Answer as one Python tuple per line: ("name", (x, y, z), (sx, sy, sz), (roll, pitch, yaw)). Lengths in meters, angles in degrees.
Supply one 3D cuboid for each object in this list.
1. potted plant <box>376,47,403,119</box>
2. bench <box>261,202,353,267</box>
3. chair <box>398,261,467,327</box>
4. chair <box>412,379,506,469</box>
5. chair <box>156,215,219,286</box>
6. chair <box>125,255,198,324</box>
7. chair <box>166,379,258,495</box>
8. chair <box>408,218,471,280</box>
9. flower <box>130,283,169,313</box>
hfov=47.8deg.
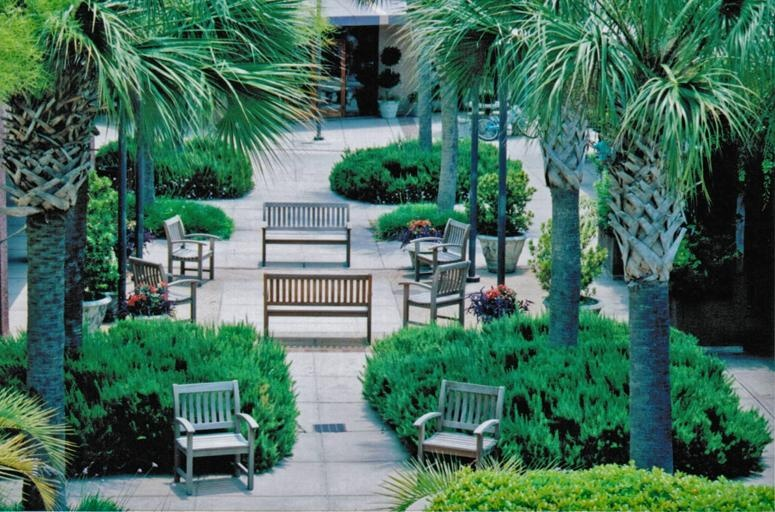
("potted plant", (0.054, -7.094, 35.963), (1.051, 2.916, 0.846), (-3, 9, 4))
("bench", (-1.677, -0.492, 19.389), (1.966, 1.476, 0.860), (0, 7, -5))
("chair", (0.803, 0.641, 14.468), (0.835, 1.264, 0.873), (10, 13, 40))
("chair", (0.825, 2.097, 10.199), (0.805, 1.230, 0.815), (2, -1, 26))
("chair", (-3.758, -0.112, 16.765), (0.926, 1.253, 0.957), (4, 9, 11))
("chair", (-3.743, 0.617, 14.583), (0.911, 1.290, 0.884), (11, 14, 41))
("chair", (-1.988, 2.073, 9.969), (0.830, 1.216, 0.781), (1, -3, -33))
("chair", (0.984, -0.047, 16.681), (0.847, 1.301, 0.974), (0, 9, -27))
("flower", (-3.796, 0.729, 14.031), (0.474, 0.292, 0.490), (-4, 22, -22))
